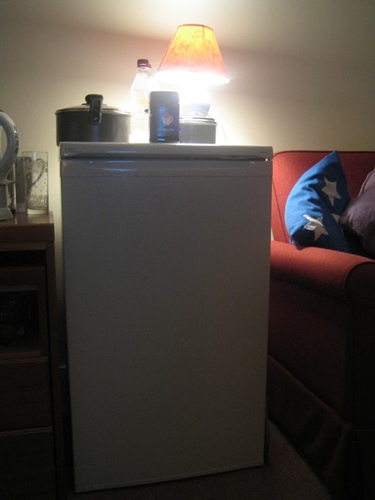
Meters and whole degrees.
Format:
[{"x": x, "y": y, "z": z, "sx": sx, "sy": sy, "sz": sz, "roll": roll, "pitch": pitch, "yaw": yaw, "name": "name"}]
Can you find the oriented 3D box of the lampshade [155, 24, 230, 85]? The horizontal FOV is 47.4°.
[{"x": 0.025, "y": -0.672, "z": 1.506, "sx": 0.248, "sy": 0.192, "sz": 0.239, "roll": 3, "pitch": 1, "yaw": -23, "name": "lampshade"}]
